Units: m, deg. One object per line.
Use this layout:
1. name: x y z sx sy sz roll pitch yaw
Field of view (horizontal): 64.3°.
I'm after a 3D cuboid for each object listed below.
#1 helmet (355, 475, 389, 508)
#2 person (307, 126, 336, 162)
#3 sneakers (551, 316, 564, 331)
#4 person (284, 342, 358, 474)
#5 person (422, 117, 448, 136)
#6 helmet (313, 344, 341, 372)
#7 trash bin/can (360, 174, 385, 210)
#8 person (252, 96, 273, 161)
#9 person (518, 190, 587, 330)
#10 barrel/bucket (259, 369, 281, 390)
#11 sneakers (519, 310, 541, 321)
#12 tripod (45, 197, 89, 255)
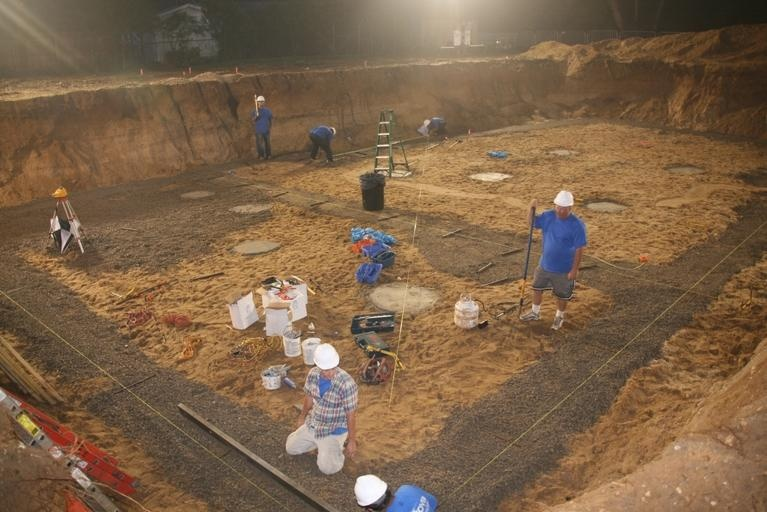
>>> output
1. helmet: -0.198 3.701 9.591 0.466 0.269 0.549 -13 8 -30
2. person: -2.377 -4.265 23.308 1.016 1.310 1.217 21 46 18
3. sneakers: 3.708 1.420 12.992 0.159 0.141 0.375 6 24 33
4. person: -1.087 2.715 10.769 1.229 2.396 0.611 0 24 11
5. person: 2.167 -5.650 26.549 1.135 0.555 0.676 -24 37 -32
6. helmet: -1.019 1.702 10.658 0.379 0.243 0.486 -7 21 -12
7. trash bin/can: -0.090 -1.945 18.224 1.106 1.022 0.975 0 12 6
8. person: -4.587 -4.888 23.209 0.650 2.372 1.049 -9 23 -10
9. person: 3.615 0.087 12.762 1.143 2.919 0.824 2 24 16
10. barrel/bucket: -2.230 2.467 12.168 0.378 0.268 0.377 -1 27 0
11. sneakers: 3.192 1.271 13.223 0.466 0.204 0.189 0 17 -1
12. tripod: -8.861 -0.810 17.057 0.976 1.732 0.862 24 38 2
